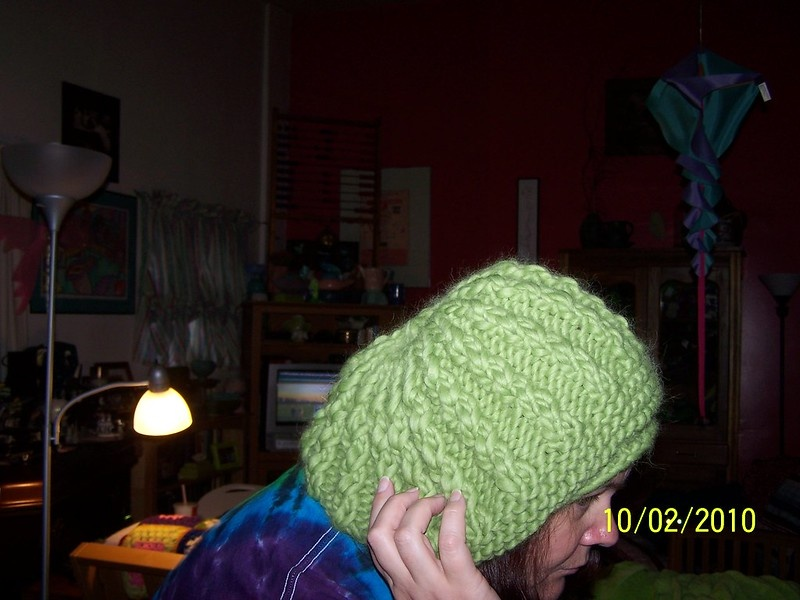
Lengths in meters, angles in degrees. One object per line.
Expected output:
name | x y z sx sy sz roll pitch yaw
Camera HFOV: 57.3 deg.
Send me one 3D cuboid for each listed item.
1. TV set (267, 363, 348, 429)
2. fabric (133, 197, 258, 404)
TV set | -0.569 0.709 4.933 0.552 0.516 0.311 0 -14 9
fabric | -1.332 -0.101 4.850 0.741 1.078 0.136 2 -4 -23
